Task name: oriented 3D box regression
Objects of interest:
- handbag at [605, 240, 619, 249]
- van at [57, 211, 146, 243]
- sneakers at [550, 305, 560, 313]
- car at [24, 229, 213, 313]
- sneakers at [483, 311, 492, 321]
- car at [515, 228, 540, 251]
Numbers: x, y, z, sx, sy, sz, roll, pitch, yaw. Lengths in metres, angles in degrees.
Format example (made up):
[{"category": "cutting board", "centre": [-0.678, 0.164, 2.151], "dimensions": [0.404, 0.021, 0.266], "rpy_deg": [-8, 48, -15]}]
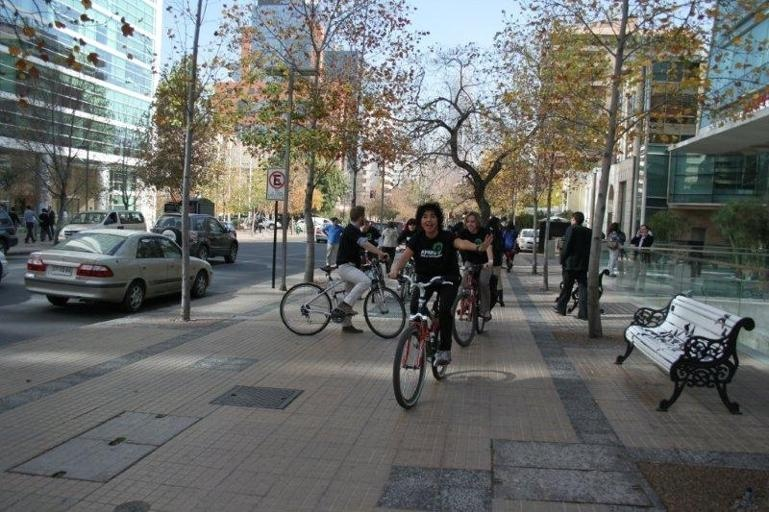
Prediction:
[{"category": "handbag", "centre": [7.920, -0.403, 19.969], "dimensions": [0.116, 0.342, 0.333], "rpy_deg": [4, 1, -17]}, {"category": "van", "centre": [-11.339, -1.247, 23.004], "dimensions": [1.838, 1.591, 3.513], "rpy_deg": [0, -3, 14]}, {"category": "sneakers", "centre": [4.424, 1.369, 14.884], "dimensions": [0.170, 0.234, 0.550], "rpy_deg": [0, -3, 12]}, {"category": "car", "centre": [-6.255, 0.013, 14.603], "dimensions": [2.115, 1.863, 4.907], "rpy_deg": [3, 6, 15]}, {"category": "sneakers", "centre": [2.057, 1.196, 11.565], "dimensions": [0.164, 0.090, 0.245], "rpy_deg": [-1, 35, 4]}, {"category": "car", "centre": [10.786, -1.179, 43.246], "dimensions": [1.855, 1.869, 3.635], "rpy_deg": [-2, -3, 11]}]
